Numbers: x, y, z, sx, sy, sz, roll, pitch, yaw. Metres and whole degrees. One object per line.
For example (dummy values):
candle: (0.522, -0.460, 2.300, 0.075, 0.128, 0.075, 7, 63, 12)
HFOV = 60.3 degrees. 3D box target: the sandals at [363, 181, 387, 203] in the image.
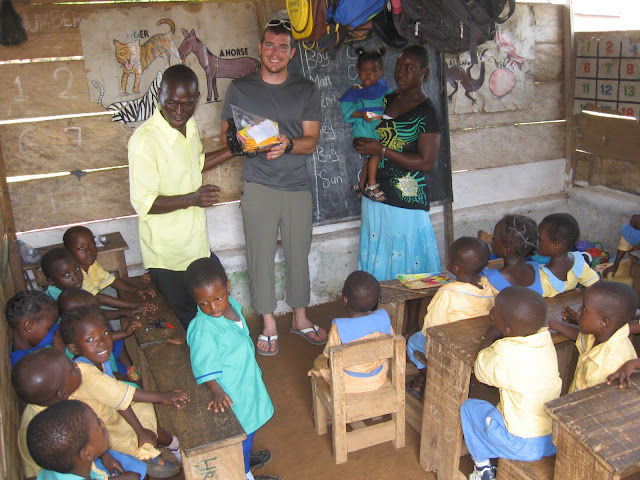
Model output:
sandals: (0.405, -0.345, 4.033, 0.085, 0.075, 0.177, -18, 27, -23)

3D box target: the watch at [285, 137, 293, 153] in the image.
watch: (-0.212, -0.656, 3.807, 0.043, 0.095, 0.098, 5, -13, -3)

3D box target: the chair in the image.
chair: (0.224, 0.893, 3.277, 0.558, 0.797, 0.400, -9, 16, -5)

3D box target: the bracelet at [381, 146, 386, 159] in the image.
bracelet: (0.459, -0.625, 3.927, 0.036, 0.056, 0.056, -2, 8, 9)

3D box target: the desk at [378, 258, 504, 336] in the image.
desk: (0.755, 0.354, 3.423, 0.516, 0.351, 0.255, -11, 25, -18)

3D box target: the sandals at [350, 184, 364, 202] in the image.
sandals: (0.296, -0.379, 4.314, 0.060, 0.064, 0.158, -3, 35, -11)

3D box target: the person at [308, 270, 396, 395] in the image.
person: (0.194, 0.534, 3.369, 0.494, 0.711, 0.541, 2, 7, 35)

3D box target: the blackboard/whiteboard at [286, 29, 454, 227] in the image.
blackboard/whiteboard: (0.335, -0.899, 4.240, 1.463, 1.528, 0.080, -12, 19, -21)
